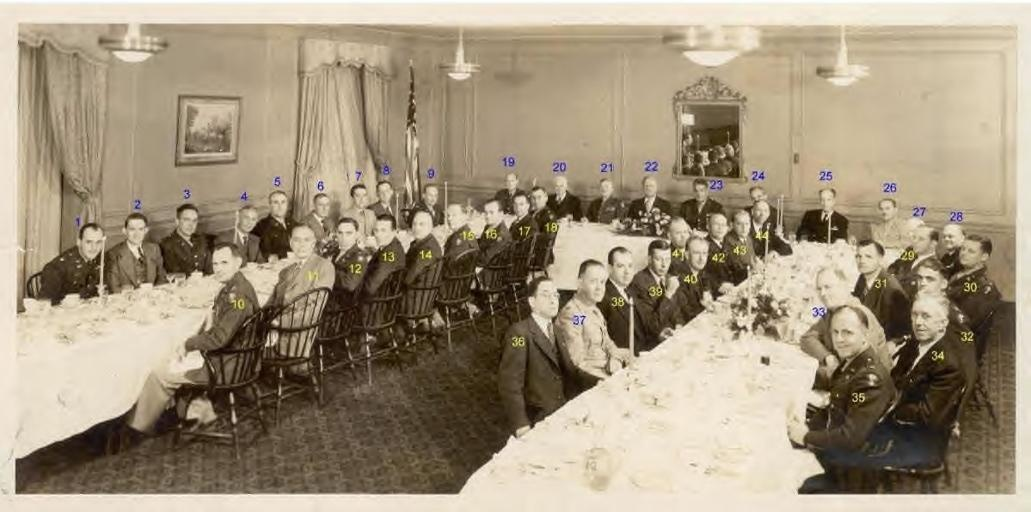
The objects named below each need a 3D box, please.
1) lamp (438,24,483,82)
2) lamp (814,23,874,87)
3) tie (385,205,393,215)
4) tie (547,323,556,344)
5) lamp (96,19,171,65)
[{"bbox_3d":[-0.598,-2.195,9.258,0.398,0.556,0.124,-1,9,-14],"label":"lamp"},{"bbox_3d":[3.474,-2.170,9.040,0.575,0.539,0.524,-26,39,-29],"label":"lamp"},{"bbox_3d":[-1.412,-0.516,9.515,0.080,0.048,0.097,7,24,-5],"label":"tie"},{"bbox_3d":[0.381,0.795,8.918,0.088,0.175,0.118,2,8,1],"label":"tie"},{"bbox_3d":[-4.180,-2.328,9.315,0.563,0.301,0.500,-2,9,-21],"label":"lamp"}]
